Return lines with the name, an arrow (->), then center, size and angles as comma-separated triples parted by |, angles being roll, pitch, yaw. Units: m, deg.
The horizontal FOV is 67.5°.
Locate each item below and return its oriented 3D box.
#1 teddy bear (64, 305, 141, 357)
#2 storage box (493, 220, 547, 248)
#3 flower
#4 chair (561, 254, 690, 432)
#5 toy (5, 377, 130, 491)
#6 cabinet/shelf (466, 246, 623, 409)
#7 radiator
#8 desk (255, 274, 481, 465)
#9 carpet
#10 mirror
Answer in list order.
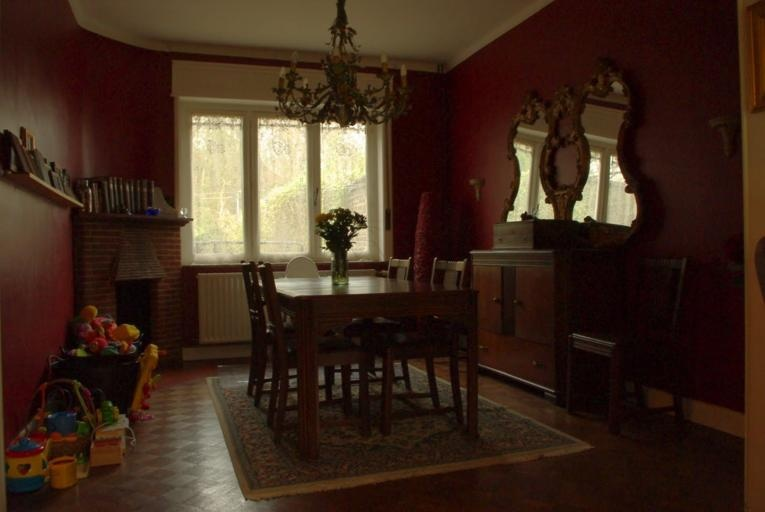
teddy bear -> -2.301, 0.644, 4.747 | 0.436, 0.310, 0.573 | 7, 3, 3
storage box -> 1.220, -0.197, 5.259 | 0.146, 0.298, 0.599 | -4, 9, -24
flower -> -0.350, -0.073, 4.744 | 0.440, 0.559, 0.386 | 13, -28, -42
chair -> 1.935, 0.645, 4.496 | 0.809, 1.270, 0.592 | -4, 9, -24
toy -> -2.095, 1.196, 3.941 | 0.535, 0.386, 0.768 | 0, -5, -10
cabinet/shelf -> 1.421, 0.558, 5.308 | 0.711, 1.198, 1.243 | -1, 1, -26
radiator -> -1.891, 0.612, 6.648 | 0.711, 0.794, 0.097 | -6, -8, 34
desk -> -0.101, 0.966, 4.348 | 1.027, 0.934, 1.831 | 0, -1, -14
carpet -> -0.068, 1.348, 4.810 | 2.601, 0.097, 2.896 | 0, 0, -26
mirror -> 1.776, -0.930, 5.511 | 0.077, 1.629, 1.876 | -2, 2, -24
